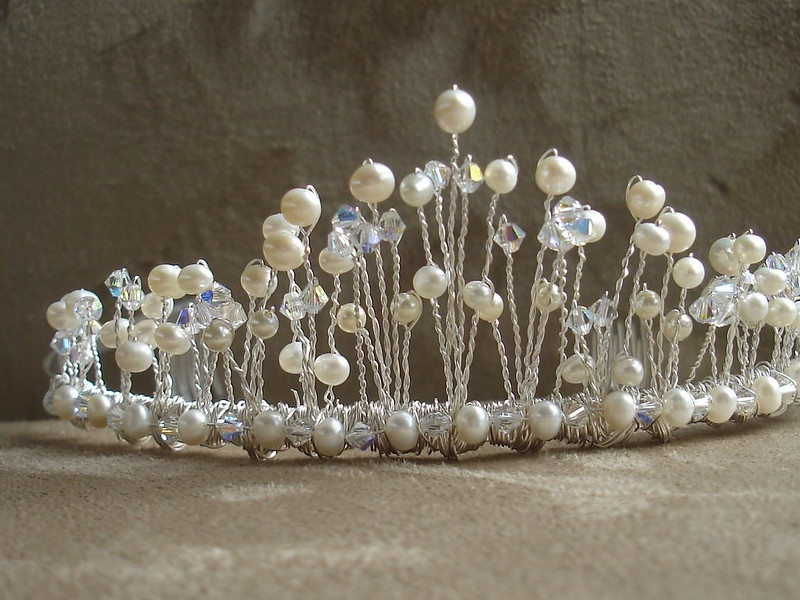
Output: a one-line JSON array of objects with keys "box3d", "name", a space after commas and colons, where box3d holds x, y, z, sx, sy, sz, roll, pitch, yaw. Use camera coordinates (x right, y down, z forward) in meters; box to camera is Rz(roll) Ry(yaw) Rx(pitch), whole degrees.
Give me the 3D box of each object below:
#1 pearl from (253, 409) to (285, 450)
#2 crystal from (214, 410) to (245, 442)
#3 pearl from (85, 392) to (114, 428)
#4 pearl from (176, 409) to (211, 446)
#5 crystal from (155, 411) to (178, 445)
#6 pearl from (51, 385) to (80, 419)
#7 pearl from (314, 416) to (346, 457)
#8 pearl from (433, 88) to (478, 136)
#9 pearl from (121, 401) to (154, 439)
[{"box3d": [-0.195, 0.192, 1.696, 0.053, 0.061, 0.051, -2, 6, -14], "name": "pearl"}, {"box3d": [-0.256, 0.193, 1.717, 0.045, 0.041, 0.018, 30, 1, 3], "name": "crystal"}, {"box3d": [-0.477, 0.172, 1.795, 0.046, 0.055, 0.046, -11, 8, -39], "name": "pearl"}, {"box3d": [-0.308, 0.192, 1.715, 0.049, 0.057, 0.050, 2, -13, -7], "name": "pearl"}, {"box3d": [-0.355, 0.199, 1.742, 0.047, 0.046, 0.029, 5, 10, 12], "name": "crystal"}, {"box3d": [-0.543, 0.163, 1.837, 0.051, 0.036, 0.044, 0, 0, -13], "name": "pearl"}, {"box3d": [-0.105, 0.209, 1.713, 0.060, 0.062, 0.060, 0, 0, 43], "name": "pearl"}, {"box3d": [0.086, -0.281, 1.695, 0.052, 0.071, 0.055, 4, 9, 28], "name": "pearl"}, {"box3d": [-0.403, 0.182, 1.746, 0.052, 0.062, 0.052, 3, 2, -6], "name": "pearl"}]
